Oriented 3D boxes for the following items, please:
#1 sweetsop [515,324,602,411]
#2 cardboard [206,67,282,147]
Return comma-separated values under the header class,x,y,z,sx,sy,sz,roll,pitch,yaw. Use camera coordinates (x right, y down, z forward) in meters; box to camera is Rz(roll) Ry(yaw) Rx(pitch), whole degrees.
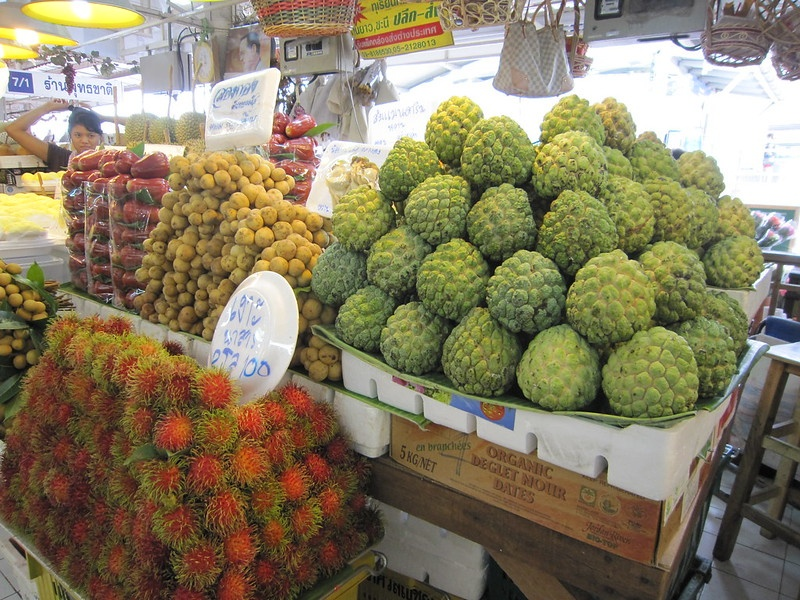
class,x,y,z,sx,sy,sz,roll,pitch,yaw
sweetsop,0.449,0.185,1.755,0.182,0.206,0.231,-7,15,11
cardboard,-0.620,-0.736,2.420,0.363,0.280,0.081,3,-2,38
